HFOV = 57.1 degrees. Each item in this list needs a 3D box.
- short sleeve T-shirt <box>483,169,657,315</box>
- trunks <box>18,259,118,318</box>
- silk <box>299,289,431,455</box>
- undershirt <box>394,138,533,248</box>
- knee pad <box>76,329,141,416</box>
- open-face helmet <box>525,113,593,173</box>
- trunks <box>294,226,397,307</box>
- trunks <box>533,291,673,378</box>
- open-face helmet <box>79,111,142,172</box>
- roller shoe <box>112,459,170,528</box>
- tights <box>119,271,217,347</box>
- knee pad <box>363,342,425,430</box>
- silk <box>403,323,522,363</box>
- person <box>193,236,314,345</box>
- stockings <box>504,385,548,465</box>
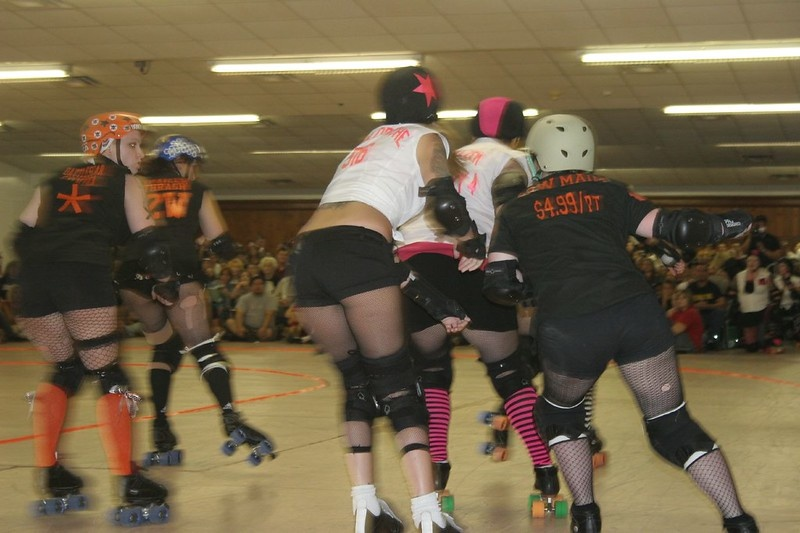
[{"bbox_3d":[0.850,-0.143,3.632,0.914,0.654,0.301,-9,-26,6],"label":"short sleeve T-shirt"},{"bbox_3d":[-1.940,0.126,4.125,0.332,0.257,0.569,-7,-3,37],"label":"trunks"},{"bbox_3d":[-0.208,0.499,3.575,0.472,0.766,0.239,-7,-5,35],"label":"silk"},{"bbox_3d":[0.366,-0.431,4.222,0.789,0.564,0.282,6,5,0],"label":"undershirt"},{"bbox_3d":[-1.629,0.611,4.138,0.320,0.483,0.193,-3,-4,-17],"label":"knee pad"},{"bbox_3d":[0.838,-0.627,3.800,0.318,0.269,0.361,-6,19,-17],"label":"open-face helmet"},{"bbox_3d":[-0.258,0.019,3.700,0.658,0.352,0.453,-2,6,39],"label":"trunks"},{"bbox_3d":[1.044,0.375,3.665,0.796,0.309,0.387,-9,-9,27],"label":"trunks"},{"bbox_3d":[-1.777,-0.747,4.412,0.408,0.277,0.291,-10,-1,-11],"label":"open-face helmet"},{"bbox_3d":[-1.384,1.239,4.125,0.391,0.337,0.361,-1,-3,-13],"label":"roller shoe"},{"bbox_3d":[-1.560,0.339,5.014,0.487,0.497,0.386,-33,33,-25],"label":"tights"},{"bbox_3d":[-0.076,0.670,3.718,0.333,0.119,0.334,-17,16,-7],"label":"knee pad"},{"bbox_3d":[0.376,0.418,4.105,0.506,0.142,0.251,3,6,0],"label":"silk"},{"bbox_3d":[-2.455,0.498,11.797,2.145,1.882,0.868,1,-6,0],"label":"person"},{"bbox_3d":[0.768,0.834,4.204,0.331,0.174,0.528,-1,6,6],"label":"stockings"}]
